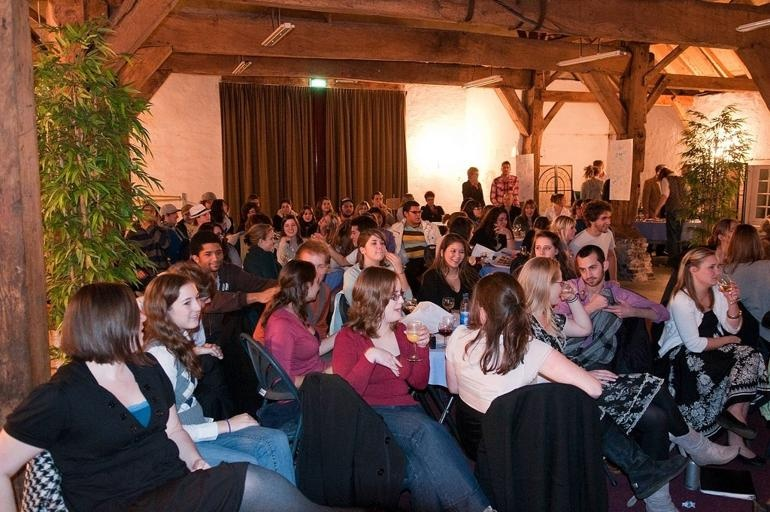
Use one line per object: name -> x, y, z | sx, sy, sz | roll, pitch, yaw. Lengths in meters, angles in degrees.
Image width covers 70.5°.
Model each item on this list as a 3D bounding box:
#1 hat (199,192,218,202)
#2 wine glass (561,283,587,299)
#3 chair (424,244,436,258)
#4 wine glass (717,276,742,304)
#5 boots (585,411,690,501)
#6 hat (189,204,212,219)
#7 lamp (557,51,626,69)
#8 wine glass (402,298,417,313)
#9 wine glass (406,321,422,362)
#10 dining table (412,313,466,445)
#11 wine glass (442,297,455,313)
hat -> -3.262, -1.090, 10.092 | 0.339, 0.174, 0.463 | 1, 0, -21
wine glass -> 1.301, 0.246, 3.757 | 0.115, 0.114, 0.070 | -25, 11, 14
chair -> 0.508, -0.042, 6.173 | 0.105, 0.142, 0.126 | -2, -26, -2
wine glass -> 2.458, 0.230, 3.905 | 0.202, 0.183, 0.107 | -5, 4, -26
boots -> 1.518, 1.148, 3.303 | 0.383, 0.479, 0.246 | -38, -11, 27
hat -> -2.505, -0.569, 7.314 | 0.258, 0.103, 0.228 | -27, 5, 20
lamp -> 3.465, -3.363, 9.298 | 2.036, 0.277, 0.225 | -13, -9, -36
wine glass -> 0.179, 0.366, 4.019 | 0.119, 0.093, 0.107 | 0, 5, 8
wine glass -> 0.181, 0.523, 3.396 | 0.085, 0.267, 0.206 | -3, 4, 2
dining table -> 0.355, 0.914, 4.035 | 0.327, 0.925, 1.498 | -3, 4, 4
wine glass -> 0.472, 0.359, 4.037 | 0.104, 0.116, 0.107 | 1, 6, 8
